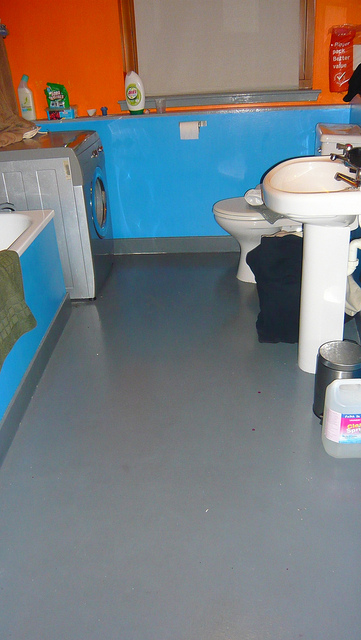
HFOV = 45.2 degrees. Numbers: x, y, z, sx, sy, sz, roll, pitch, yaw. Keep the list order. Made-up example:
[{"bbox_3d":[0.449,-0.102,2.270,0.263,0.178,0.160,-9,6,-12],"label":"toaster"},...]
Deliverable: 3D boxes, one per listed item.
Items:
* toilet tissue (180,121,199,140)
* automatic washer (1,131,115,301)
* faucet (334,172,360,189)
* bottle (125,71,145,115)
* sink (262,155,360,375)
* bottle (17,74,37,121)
[{"bbox_3d":[0.060,-1.222,2.800,0.109,0.120,0.095,0,51,4],"label":"toilet tissue"},{"bbox_3d":[-0.658,-0.547,2.266,0.477,0.922,0.670,0,38,2],"label":"automatic washer"},{"bbox_3d":[0.528,-0.440,1.353,0.068,0.055,0.139,9,32,25],"label":"faucet"},{"bbox_3d":[-0.318,-1.501,2.897,0.143,0.310,0.074,-5,3,2],"label":"bottle"},{"bbox_3d":[0.513,-0.181,1.681,0.296,0.889,0.605,0,31,7],"label":"sink"},{"bbox_3d":[-1.087,-1.560,3.052,0.104,0.283,0.156,-13,27,-16],"label":"bottle"}]
